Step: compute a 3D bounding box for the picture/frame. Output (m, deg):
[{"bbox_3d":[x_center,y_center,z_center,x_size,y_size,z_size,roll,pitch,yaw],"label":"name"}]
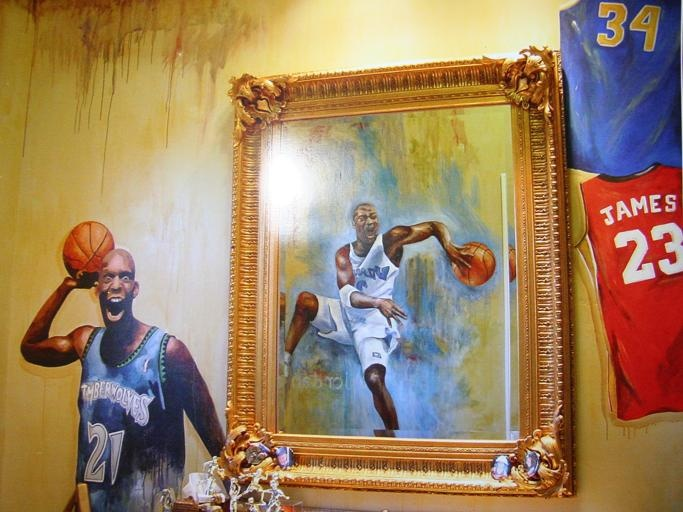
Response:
[{"bbox_3d":[0.251,0.113,3.917,1.489,1.995,0.225,-1,-6,10],"label":"picture/frame"}]
